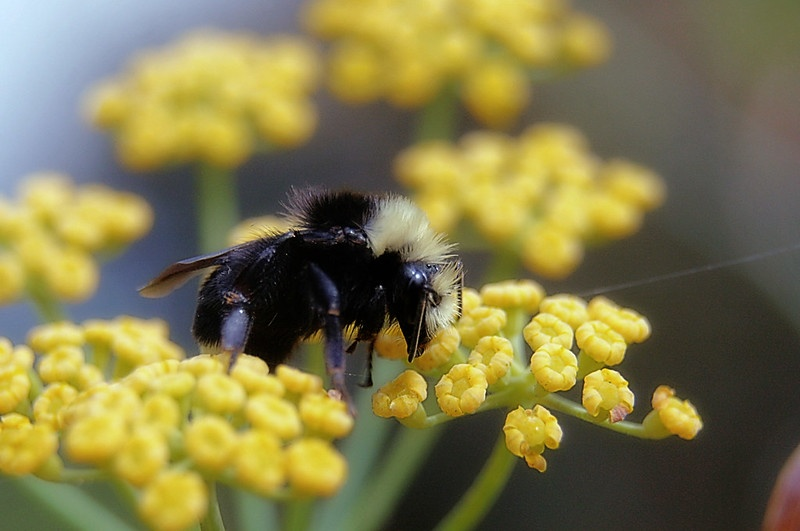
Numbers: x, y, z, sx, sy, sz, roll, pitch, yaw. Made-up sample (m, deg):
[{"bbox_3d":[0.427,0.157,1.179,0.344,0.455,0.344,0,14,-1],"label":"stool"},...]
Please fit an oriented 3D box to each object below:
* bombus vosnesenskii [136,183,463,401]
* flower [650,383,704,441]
[{"bbox_3d":[-0.124,0.039,1.422,0.405,0.172,0.305,2,-3,35],"label":"bombus vosnesenskii"},{"bbox_3d":[0.382,0.196,1.206,0.069,0.056,0.023,50,41,3],"label":"flower"}]
